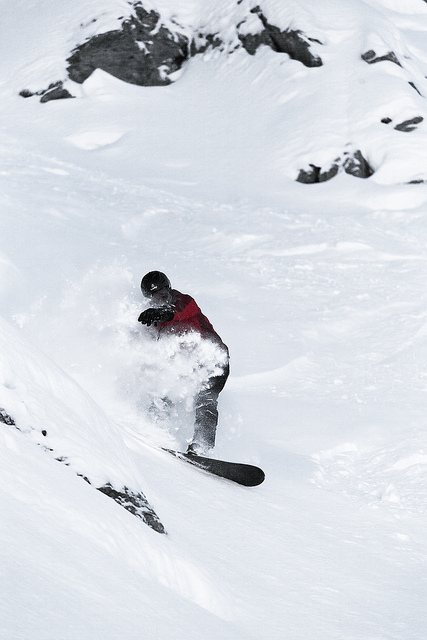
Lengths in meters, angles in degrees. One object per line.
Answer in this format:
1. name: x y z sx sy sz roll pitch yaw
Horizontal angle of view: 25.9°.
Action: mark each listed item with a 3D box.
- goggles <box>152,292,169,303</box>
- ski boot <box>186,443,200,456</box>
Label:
1. goggles: -0.484 -0.201 8.537 0.158 0.102 0.029 -11 39 4
2. ski boot: -0.135 1.010 7.253 0.101 0.058 0.152 -8 -3 14
